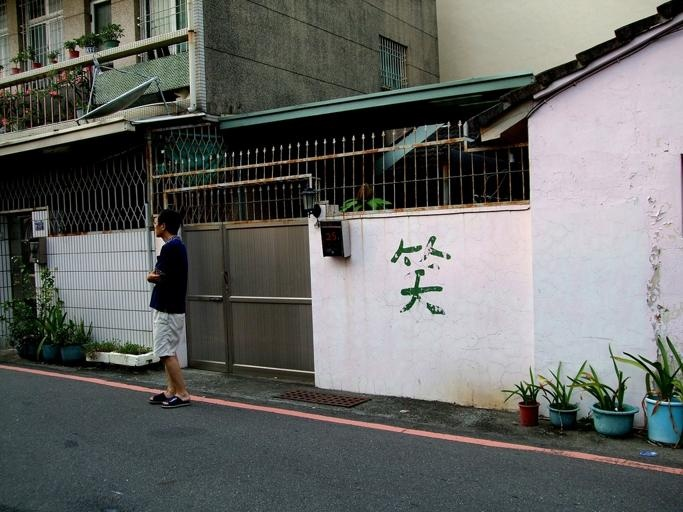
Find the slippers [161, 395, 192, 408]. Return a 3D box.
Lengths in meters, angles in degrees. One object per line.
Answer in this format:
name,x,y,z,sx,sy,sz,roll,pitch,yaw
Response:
slippers,-2.313,2.040,8.921,0.392,0.156,0.144,10,-8,-37

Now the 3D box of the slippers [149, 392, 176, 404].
slippers,-2.499,2.005,8.911,0.285,0.112,0.196,1,-2,11

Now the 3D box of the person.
person,-2.436,0.742,8.950,0.548,2.716,0.636,-3,7,-11

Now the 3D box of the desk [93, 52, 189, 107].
desk,-3.812,-3.364,12.188,2.184,0.833,0.516,2,7,28
